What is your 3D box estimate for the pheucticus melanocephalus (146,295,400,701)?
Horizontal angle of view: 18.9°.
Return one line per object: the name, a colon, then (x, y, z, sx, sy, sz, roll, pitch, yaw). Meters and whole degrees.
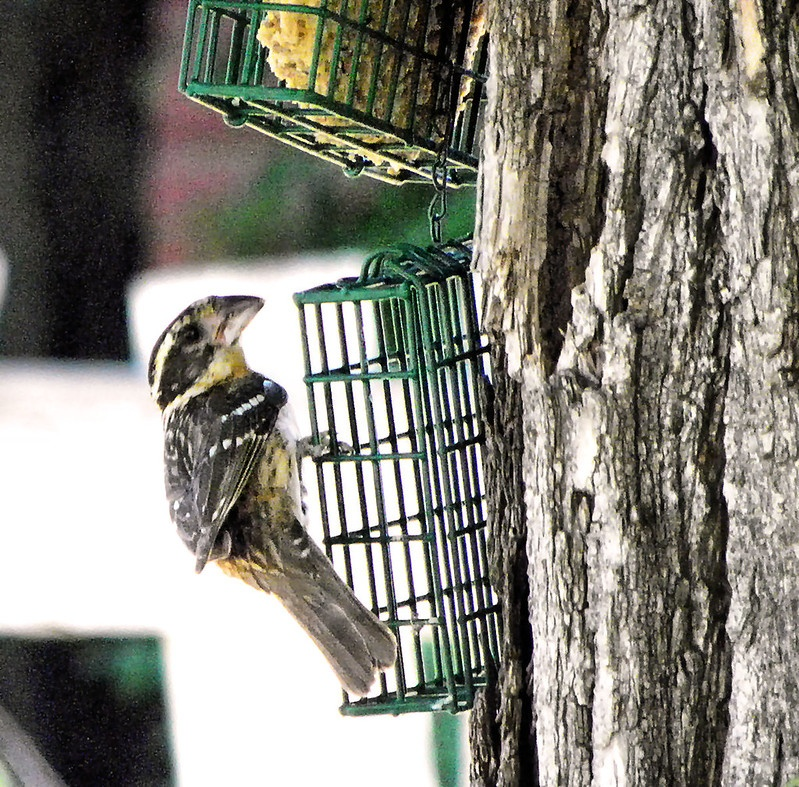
pheucticus melanocephalus: (-0.280, 0.151, 5.283, 0.309, 1.405, 0.487, -5, -1, 40)
